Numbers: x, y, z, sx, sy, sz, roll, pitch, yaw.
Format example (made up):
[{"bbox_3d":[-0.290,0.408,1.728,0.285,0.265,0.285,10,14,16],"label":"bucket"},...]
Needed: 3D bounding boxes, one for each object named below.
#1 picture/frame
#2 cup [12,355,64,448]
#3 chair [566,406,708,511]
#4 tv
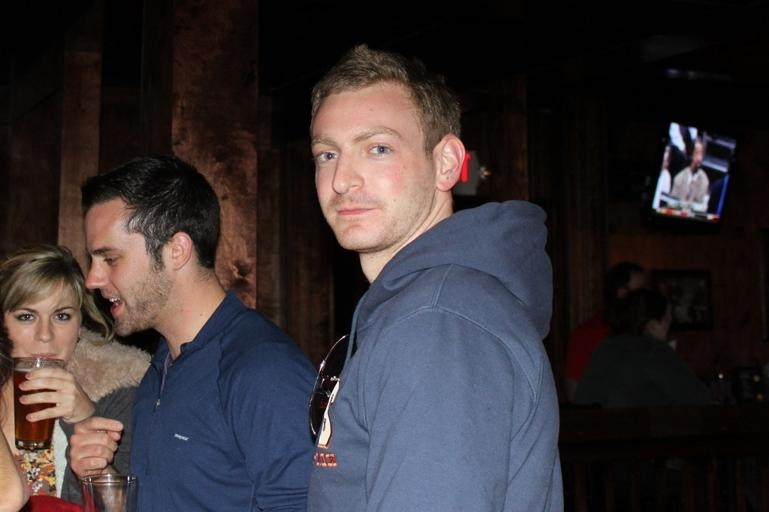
[{"bbox_3d":[2.665,0.406,6.270,0.568,0.574,0.056,-2,-9,16],"label":"picture/frame"},{"bbox_3d":[-1.664,0.694,3.348,0.205,0.428,0.163,3,-15,-15],"label":"cup"},{"bbox_3d":[1.514,1.376,4.592,1.087,0.754,0.594,1,-19,-4],"label":"chair"},{"bbox_3d":[2.763,-0.707,6.304,0.929,1.231,0.127,12,17,-3],"label":"tv"}]
